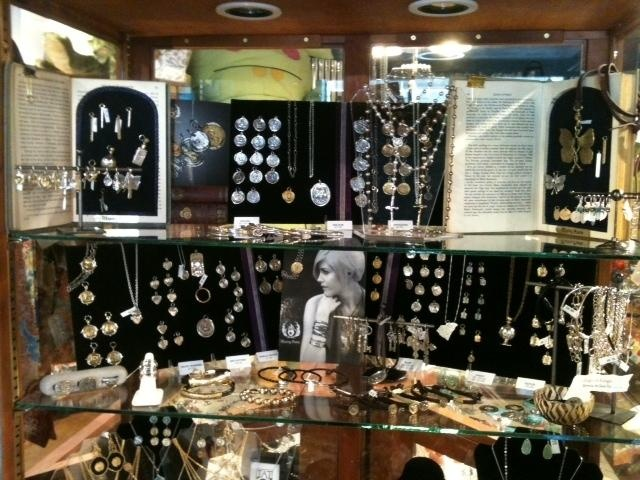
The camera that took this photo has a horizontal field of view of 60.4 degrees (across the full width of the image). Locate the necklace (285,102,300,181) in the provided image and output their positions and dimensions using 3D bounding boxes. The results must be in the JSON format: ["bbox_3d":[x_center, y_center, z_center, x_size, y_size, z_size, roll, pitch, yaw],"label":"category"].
[{"bbox_3d":[-0.101,-0.363,2.011,0.040,0.275,0.037,0,6,-3],"label":"necklace"}]

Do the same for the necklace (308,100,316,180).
[{"bbox_3d":[-0.031,-0.362,2.006,0.028,0.279,0.038,0,6,0],"label":"necklace"}]

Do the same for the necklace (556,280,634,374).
[{"bbox_3d":[0.938,0.317,1.915,0.203,0.328,0.264,-1,6,-10],"label":"necklace"}]

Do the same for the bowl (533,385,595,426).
[{"bbox_3d":[0.817,0.537,1.879,0.174,0.121,0.203,0,6,-5],"label":"bowl"}]

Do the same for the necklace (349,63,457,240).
[{"bbox_3d":[0.279,-0.341,1.945,0.346,0.614,0.242,1,6,4],"label":"necklace"}]
